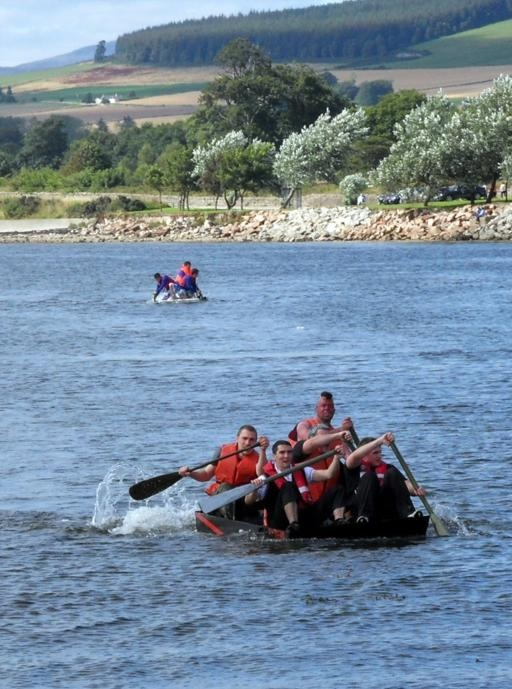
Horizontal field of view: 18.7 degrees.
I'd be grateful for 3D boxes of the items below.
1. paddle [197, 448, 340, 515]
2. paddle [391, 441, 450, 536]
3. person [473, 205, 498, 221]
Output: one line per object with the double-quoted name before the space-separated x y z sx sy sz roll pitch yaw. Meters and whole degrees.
"paddle" 0.250 1.820 20.596 1.660 0.224 0.087 -28 -22 -6
"paddle" 2.265 2.029 21.398 0.167 1.456 0.100 -39 -24 19
"person" 15.988 -9.006 108.622 1.418 0.921 1.743 -1 16 10
